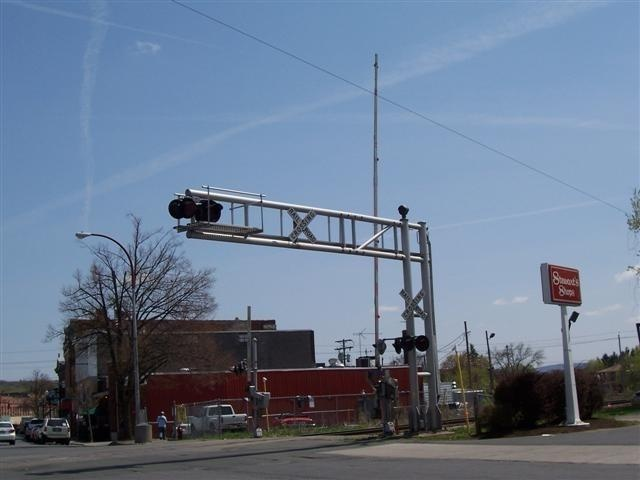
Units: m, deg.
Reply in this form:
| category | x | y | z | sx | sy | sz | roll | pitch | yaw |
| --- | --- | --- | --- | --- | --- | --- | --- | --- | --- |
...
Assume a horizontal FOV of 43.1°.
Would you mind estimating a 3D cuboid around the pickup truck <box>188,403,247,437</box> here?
| category | x | y | z | sx | sy | sz | roll | pitch | yaw |
| --- | --- | --- | --- | --- | --- | --- | --- | --- | --- |
| pickup truck | -6.546 | 10.932 | 48.972 | 2.190 | 1.576 | 4.161 | 5 | -8 | -34 |
